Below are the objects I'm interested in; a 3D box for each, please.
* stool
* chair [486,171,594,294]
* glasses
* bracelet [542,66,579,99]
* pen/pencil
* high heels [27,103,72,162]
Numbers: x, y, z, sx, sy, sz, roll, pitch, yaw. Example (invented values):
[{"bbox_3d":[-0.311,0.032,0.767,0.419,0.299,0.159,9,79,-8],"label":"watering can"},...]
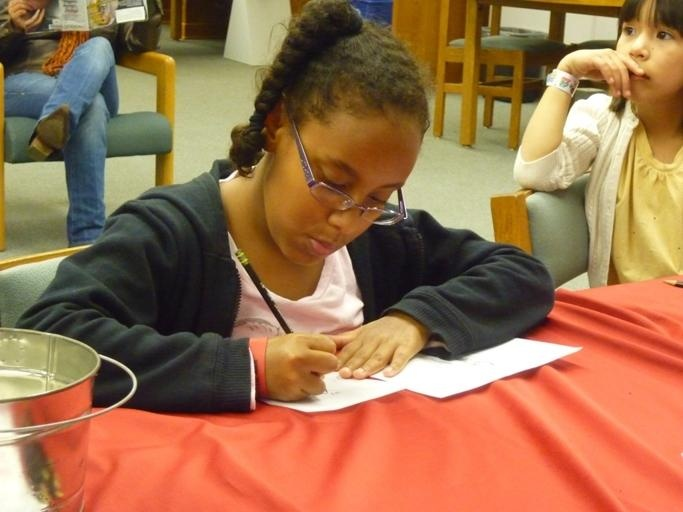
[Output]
[{"bbox_3d":[-1.361,-0.666,3.047,0.881,0.808,0.954,-12,22,-34],"label":"stool"},{"bbox_3d":[0.543,-0.091,1.595,0.294,0.382,0.251,7,15,41],"label":"chair"},{"bbox_3d":[0.031,-0.138,0.996,0.233,0.167,0.190,-3,19,-22],"label":"glasses"},{"bbox_3d":[0.650,-0.513,1.766,0.086,0.057,0.086,48,19,15],"label":"bracelet"},{"bbox_3d":[-0.103,0.100,0.933,0.017,0.220,0.022,-29,3,34],"label":"pen/pencil"},{"bbox_3d":[-1.207,-0.505,2.503,0.125,0.257,0.112,35,3,-11],"label":"high heels"}]
